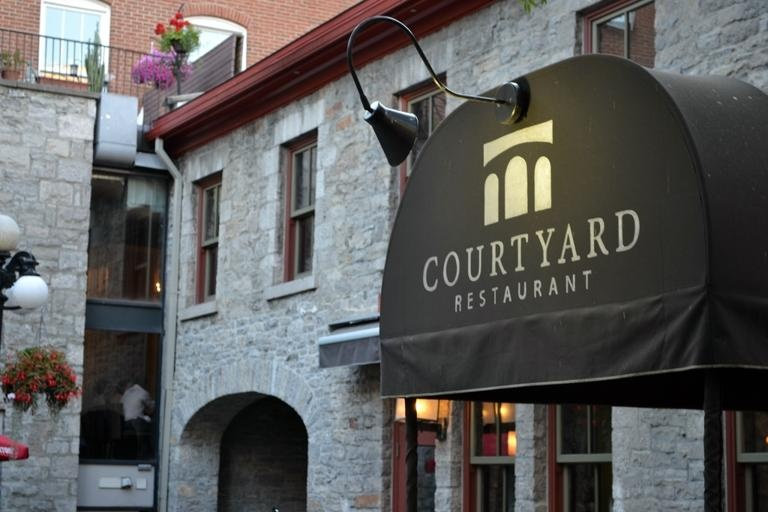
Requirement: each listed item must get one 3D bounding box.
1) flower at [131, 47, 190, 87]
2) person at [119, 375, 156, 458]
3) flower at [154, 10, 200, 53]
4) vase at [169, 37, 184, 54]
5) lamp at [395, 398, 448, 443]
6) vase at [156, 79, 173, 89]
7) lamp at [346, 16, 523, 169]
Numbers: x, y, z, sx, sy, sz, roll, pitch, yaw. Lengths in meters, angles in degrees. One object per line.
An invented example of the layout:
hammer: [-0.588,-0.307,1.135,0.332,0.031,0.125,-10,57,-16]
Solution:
flower: [-3.976,-3.311,23.582,0.735,0.606,0.669,-3,7,-21]
person: [-4.048,2.650,22.190,0.614,1.181,0.496,-2,5,-37]
flower: [-3.603,-4.021,23.564,0.752,0.874,0.759,-2,-6,34]
vase: [-3.634,-3.686,23.421,0.292,0.239,0.228,3,3,13]
lamp: [0.512,2.152,17.550,0.596,0.605,0.718,1,3,-29]
vase: [-3.880,-3.012,23.551,0.215,0.103,0.177,-8,-7,41]
lamp: [0.571,-1.685,13.091,1.608,1.502,0.718,-7,30,9]
